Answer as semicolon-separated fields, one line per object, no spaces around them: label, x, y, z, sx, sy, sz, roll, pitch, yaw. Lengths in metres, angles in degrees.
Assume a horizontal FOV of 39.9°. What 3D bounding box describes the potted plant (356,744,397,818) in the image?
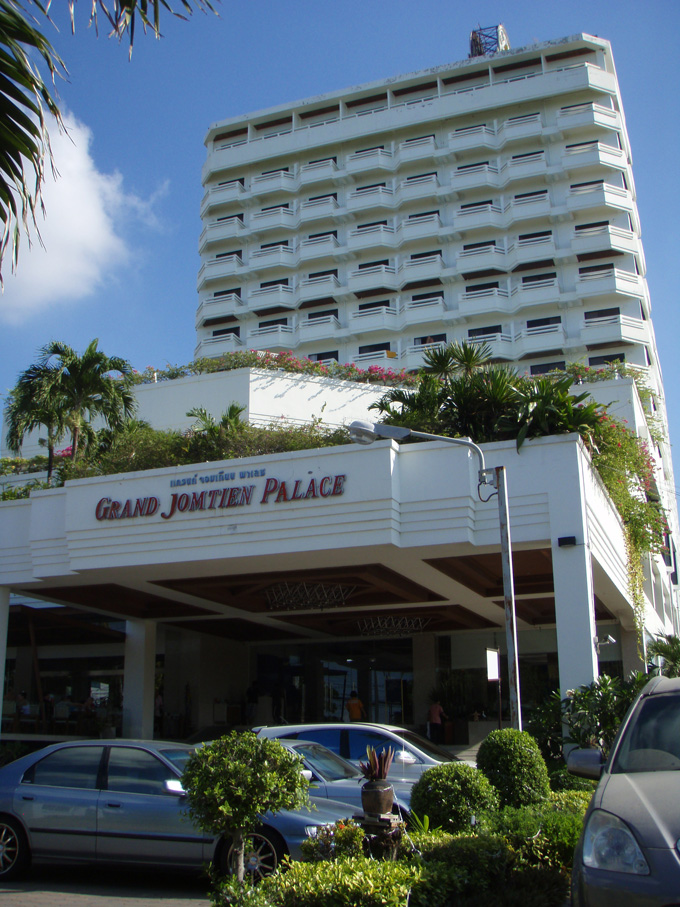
potted plant;0.289;2.643;7.550;0.235;0.497;0.548;-2;-13;0
